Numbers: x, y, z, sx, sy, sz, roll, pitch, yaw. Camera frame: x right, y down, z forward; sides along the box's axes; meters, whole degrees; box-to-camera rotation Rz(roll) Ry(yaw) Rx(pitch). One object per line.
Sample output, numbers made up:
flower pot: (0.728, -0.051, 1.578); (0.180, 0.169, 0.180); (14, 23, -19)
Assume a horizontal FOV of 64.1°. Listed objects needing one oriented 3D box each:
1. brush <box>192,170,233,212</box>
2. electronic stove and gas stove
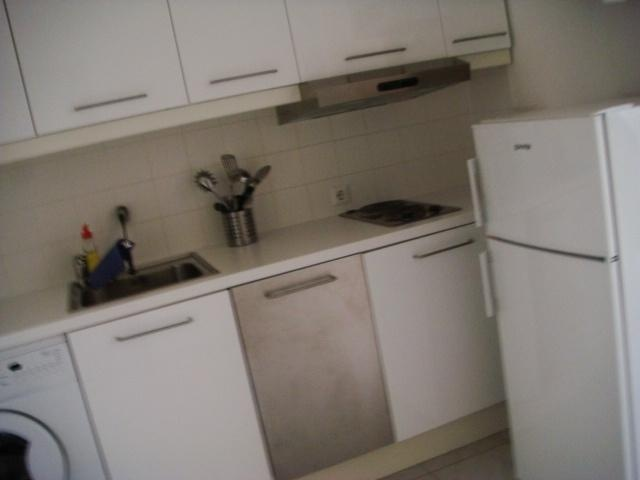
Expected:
brush: (-0.527, -0.245, 2.498); (0.117, 0.296, 0.045); (-34, 13, -10)
electronic stove and gas stove: (0.383, -0.145, 2.552); (0.439, 0.058, 0.587); (-14, 10, -16)
